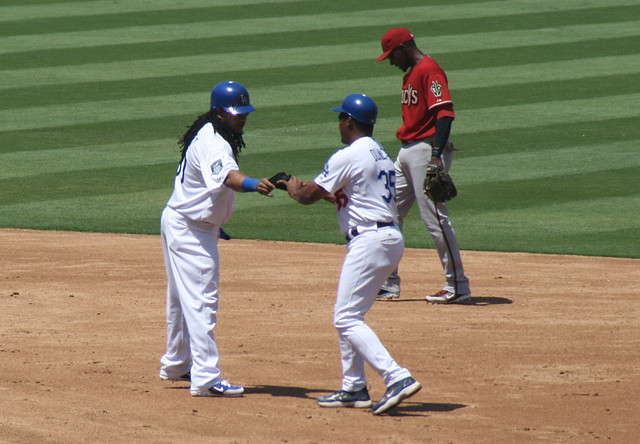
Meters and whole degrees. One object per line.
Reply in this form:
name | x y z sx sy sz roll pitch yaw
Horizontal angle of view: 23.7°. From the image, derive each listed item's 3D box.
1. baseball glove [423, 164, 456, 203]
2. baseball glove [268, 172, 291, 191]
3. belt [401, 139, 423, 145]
baseball glove | 1.952 -0.674 25.146 0.434 0.741 0.556 -10 26 19
baseball glove | -0.575 -0.595 23.083 0.273 0.255 0.576 2 9 13
belt | 1.524 -1.323 25.266 0.380 0.104 0.096 6 11 36
